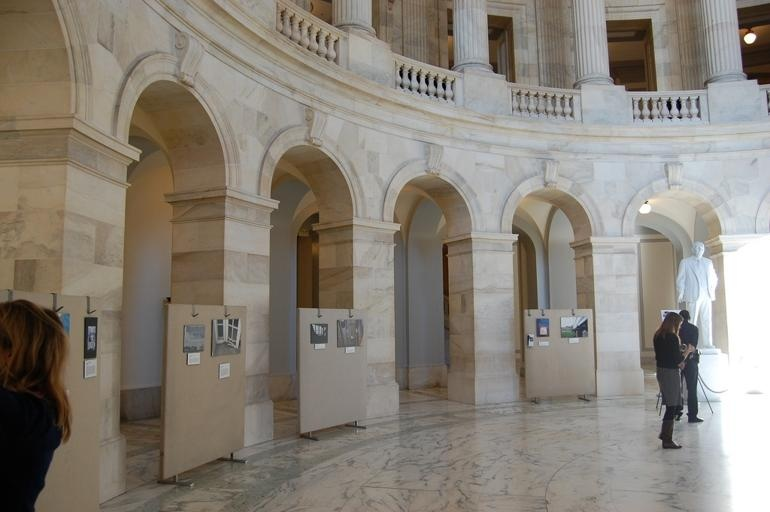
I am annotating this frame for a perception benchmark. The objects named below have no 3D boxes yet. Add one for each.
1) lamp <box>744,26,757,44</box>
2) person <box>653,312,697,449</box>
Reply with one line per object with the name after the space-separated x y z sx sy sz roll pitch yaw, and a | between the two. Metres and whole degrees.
12.069 -7.316 21.567 0.388 0.402 0.393 -2 -18 7 | lamp
4.419 1.936 10.123 0.412 2.089 0.597 0 0 23 | person
